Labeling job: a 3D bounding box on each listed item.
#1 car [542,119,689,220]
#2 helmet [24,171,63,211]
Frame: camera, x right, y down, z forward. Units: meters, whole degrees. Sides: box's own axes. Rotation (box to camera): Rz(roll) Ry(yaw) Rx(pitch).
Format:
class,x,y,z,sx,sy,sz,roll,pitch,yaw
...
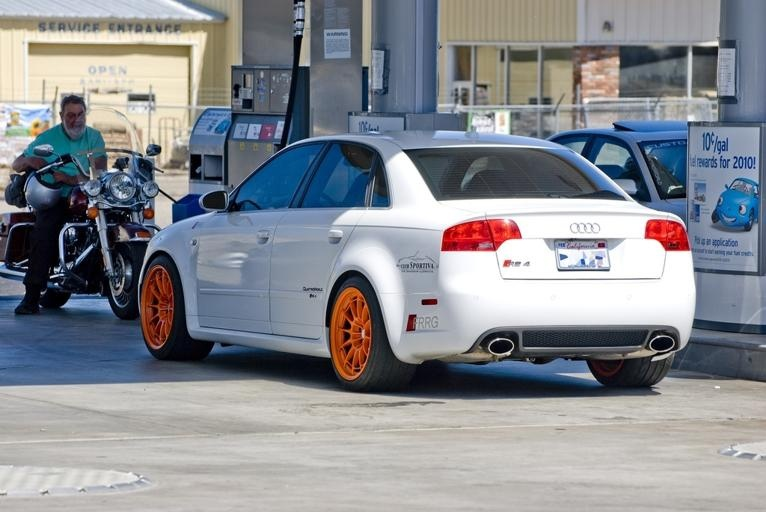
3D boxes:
class,x,y,z,sx,sy,sz,roll,pitch,yaw
car,3.039,-1.052,15.017,1.062,1.026,2.054,-1,9,-23
helmet,-4.004,-0.759,14.399,0.378,0.302,0.445,2,18,-46
